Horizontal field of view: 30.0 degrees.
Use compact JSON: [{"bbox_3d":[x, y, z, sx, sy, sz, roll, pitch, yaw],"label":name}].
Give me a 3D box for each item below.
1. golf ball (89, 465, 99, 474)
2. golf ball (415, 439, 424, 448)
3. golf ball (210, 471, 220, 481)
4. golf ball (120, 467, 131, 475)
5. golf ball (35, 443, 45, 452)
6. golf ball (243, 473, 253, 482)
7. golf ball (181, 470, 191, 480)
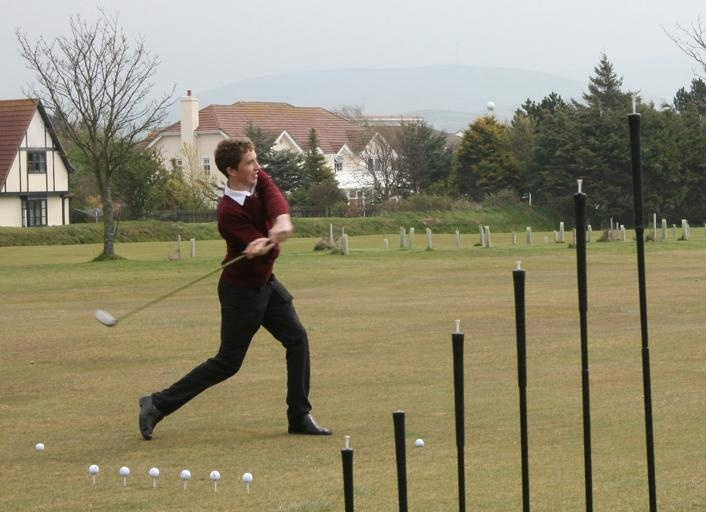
[{"bbox_3d":[-3.265,2.688,16.569,0.085,0.086,0.085,-1,-38,0],"label":"golf ball"},{"bbox_3d":[0.856,2.455,17.288,0.078,0.081,0.098,0,-19,-4],"label":"golf ball"},{"bbox_3d":[-1.727,2.742,16.350,0.135,0.102,0.135,0,-11,0],"label":"golf ball"},{"bbox_3d":[-2.866,2.693,16.522,0.115,0.115,0.135,8,-42,-5],"label":"golf ball"},{"bbox_3d":[-4.098,2.515,17.315,0.101,0.100,0.099,9,-16,3],"label":"golf ball"},{"bbox_3d":[-1.319,2.741,16.364,0.109,0.108,0.109,3,-40,3],"label":"golf ball"},{"bbox_3d":[-2.082,2.734,16.369,0.133,0.104,0.135,0,8,0],"label":"golf ball"}]
